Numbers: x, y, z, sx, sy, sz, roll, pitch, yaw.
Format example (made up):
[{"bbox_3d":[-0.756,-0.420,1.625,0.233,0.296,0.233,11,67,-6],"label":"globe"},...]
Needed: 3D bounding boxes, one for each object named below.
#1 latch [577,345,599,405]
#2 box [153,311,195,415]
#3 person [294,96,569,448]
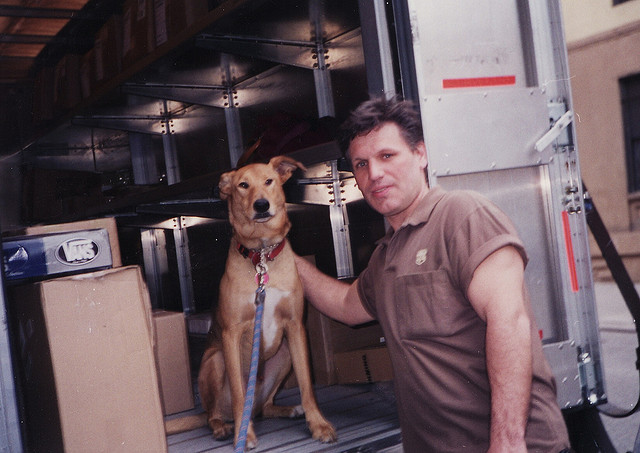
[{"bbox_3d":[1.381,0.762,2.828,0.112,0.330,0.026,-5,-1,-24],"label":"latch"},{"bbox_3d":[-0.956,0.849,3.657,0.309,0.655,0.382,-2,6,-19],"label":"box"},{"bbox_3d":[0.396,0.198,2.442,0.337,1.484,1.013,-5,-2,-37],"label":"person"}]
